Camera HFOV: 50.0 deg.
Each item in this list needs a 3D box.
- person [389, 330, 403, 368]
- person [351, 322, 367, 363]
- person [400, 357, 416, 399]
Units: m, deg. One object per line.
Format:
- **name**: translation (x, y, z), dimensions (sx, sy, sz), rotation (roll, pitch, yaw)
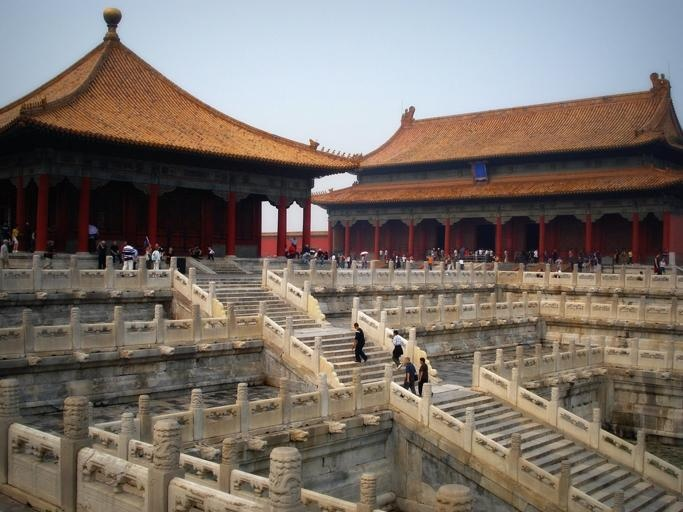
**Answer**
- **person**: translation (1.765, 2.845, 22.629), dimensions (0.378, 0.961, 1.071), rotation (1, -4, 4)
- **person**: translation (0.593, 2.589, 22.004), dimensions (0.407, 1.110, 0.573), rotation (1, -4, 2)
- **person**: translation (2.014, 3.390, 21.073), dimensions (0.388, 1.071, 1.531), rotation (1, -4, 6)
